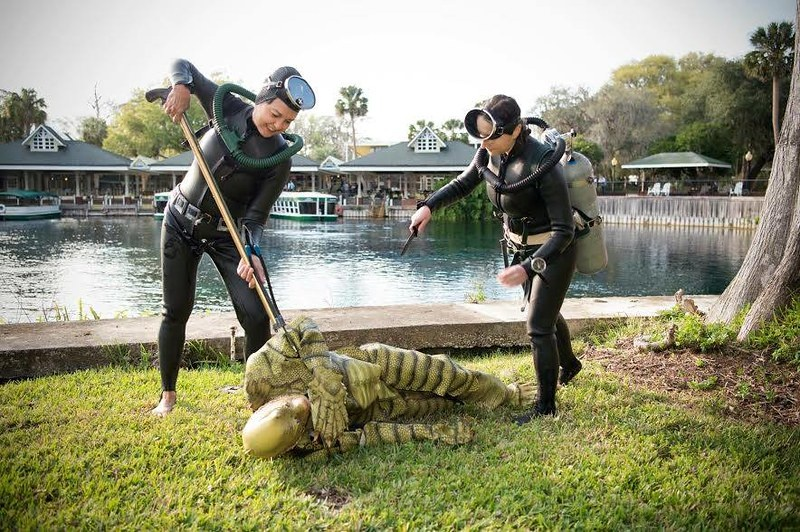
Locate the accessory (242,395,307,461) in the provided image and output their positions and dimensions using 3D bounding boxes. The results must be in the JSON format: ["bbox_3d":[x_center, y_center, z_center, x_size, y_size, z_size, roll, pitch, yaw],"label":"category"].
[{"bbox_3d":[-0.851,1.082,4.199,0.305,0.302,0.497,36,30,8],"label":"accessory"}]

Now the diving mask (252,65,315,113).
[{"bbox_3d":[-0.913,-1.364,4.713,0.495,0.329,0.156,8,16,22],"label":"diving mask"}]

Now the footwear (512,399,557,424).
[{"bbox_3d":[1.119,1.178,4.982,0.421,0.184,0.147,1,-15,-8],"label":"footwear"}]

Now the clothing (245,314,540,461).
[{"bbox_3d":[-0.231,0.895,4.630,1.566,0.686,0.945,-13,-2,-32],"label":"clothing"}]

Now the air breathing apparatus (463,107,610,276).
[{"bbox_3d":[1.300,-0.506,5.432,0.891,1.268,0.783,-9,21,16],"label":"air breathing apparatus"}]

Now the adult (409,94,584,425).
[{"bbox_3d":[0.934,0.028,5.270,1.500,2.830,1.243,-10,16,-4],"label":"adult"}]

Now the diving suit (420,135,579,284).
[{"bbox_3d":[0.883,-0.635,5.241,0.881,0.852,1.486,-36,39,-20],"label":"diving suit"}]

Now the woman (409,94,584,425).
[{"bbox_3d":[0.987,0.015,5.366,1.489,2.814,1.274,-14,19,-17],"label":"woman"}]

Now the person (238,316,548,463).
[{"bbox_3d":[-0.268,0.908,4.592,1.524,0.669,0.972,-15,-4,-32],"label":"person"}]

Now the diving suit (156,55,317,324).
[{"bbox_3d":[-1.201,-0.595,4.978,1.459,1.967,0.746,10,17,30],"label":"diving suit"}]
